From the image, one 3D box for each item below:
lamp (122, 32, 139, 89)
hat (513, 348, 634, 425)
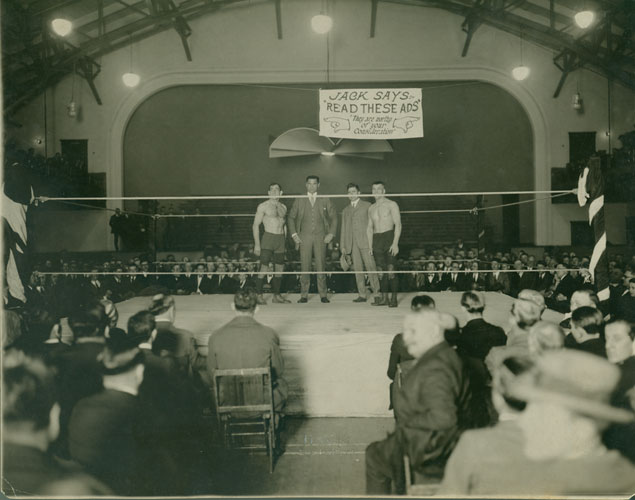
[{"bbox_3d":[-3.754,-3.761,18.120,0.379,1.032,1.227,0,-4,-12],"label":"lamp"},{"bbox_3d":[3.311,1.727,11.500,1.066,0.455,0.997,11,-8,0],"label":"hat"}]
